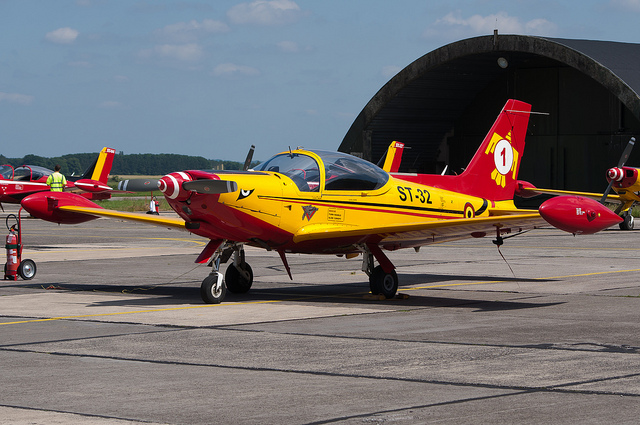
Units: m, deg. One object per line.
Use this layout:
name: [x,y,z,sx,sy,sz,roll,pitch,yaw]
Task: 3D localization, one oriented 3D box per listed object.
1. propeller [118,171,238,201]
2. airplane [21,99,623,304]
propeller: [-2.475,-0.442,13.200,2.687,0.353,0.874,0,2,31]
airplane: [1.064,-0.607,15.508,9.776,2.610,10.856,-5,7,-36]
